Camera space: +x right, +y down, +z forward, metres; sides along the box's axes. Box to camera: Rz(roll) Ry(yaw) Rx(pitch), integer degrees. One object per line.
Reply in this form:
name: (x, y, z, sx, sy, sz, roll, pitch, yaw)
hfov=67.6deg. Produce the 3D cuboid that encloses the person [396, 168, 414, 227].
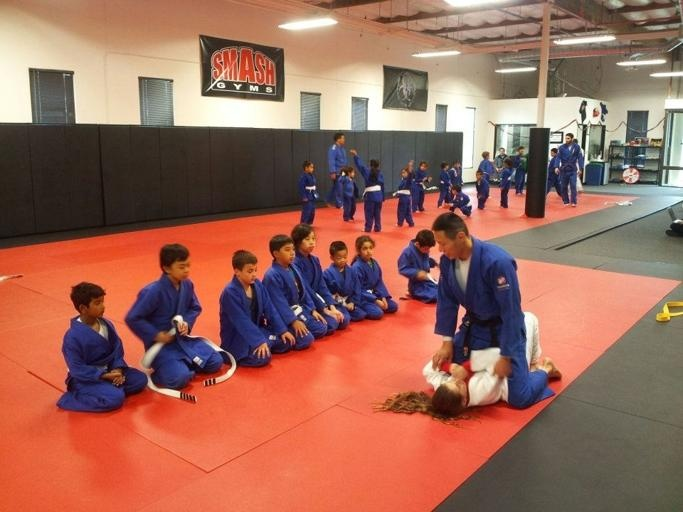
person: (1.434, -1.319, 11.366, 0.360, 1.193, 0.824, 1, 14, 6)

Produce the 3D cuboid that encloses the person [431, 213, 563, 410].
person: (1.171, 0.377, 3.853, 1.146, 1.397, 0.791, -6, 9, -16)

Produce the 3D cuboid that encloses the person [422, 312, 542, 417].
person: (1.046, 0.740, 3.830, 0.832, 0.339, 0.610, -14, 9, -39)

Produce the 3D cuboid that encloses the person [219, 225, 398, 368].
person: (-0.406, 0.302, 4.771, 0.388, 1.068, 1.015, 10, 17, 37)

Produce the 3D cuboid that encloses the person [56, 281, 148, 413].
person: (-1.790, 0.653, 3.820, 0.532, 0.881, 0.629, 5, 9, 13)

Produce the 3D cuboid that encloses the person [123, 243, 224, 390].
person: (-1.307, 0.463, 4.113, 0.574, 1.055, 0.618, 8, 12, 22)

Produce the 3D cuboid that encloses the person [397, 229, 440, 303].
person: (0.973, 0.070, 6.087, 0.470, 0.809, 0.552, 7, 23, 29)

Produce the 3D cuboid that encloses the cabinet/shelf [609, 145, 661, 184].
cabinet/shelf: (11.743, -3.744, 20.347, 0.501, 1.472, 1.655, -16, 20, -42)
